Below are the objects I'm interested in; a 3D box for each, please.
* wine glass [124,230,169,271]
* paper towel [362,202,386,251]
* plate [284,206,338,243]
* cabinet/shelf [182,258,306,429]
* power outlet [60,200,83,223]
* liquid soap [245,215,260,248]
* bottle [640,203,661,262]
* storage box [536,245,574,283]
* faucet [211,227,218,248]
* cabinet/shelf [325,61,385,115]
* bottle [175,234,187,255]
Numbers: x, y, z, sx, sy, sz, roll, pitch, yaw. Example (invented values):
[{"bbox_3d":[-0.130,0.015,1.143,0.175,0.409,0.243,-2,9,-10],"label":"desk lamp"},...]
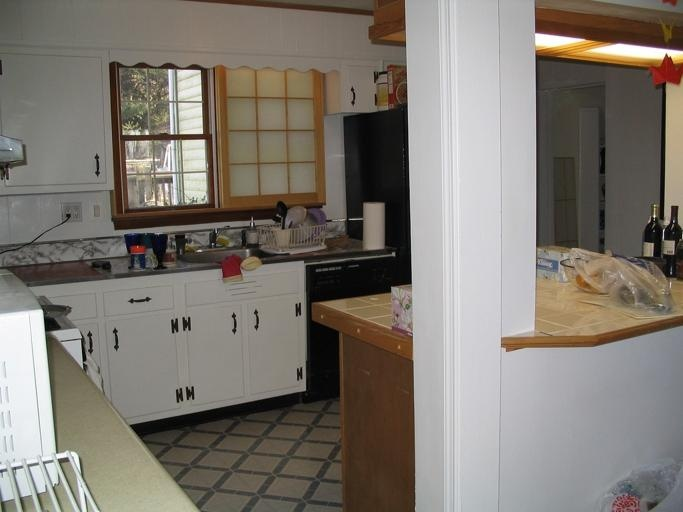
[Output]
[{"bbox_3d":[-1.402,-0.045,3.872,0.311,0.252,0.266,2,3,36],"label":"wine glass"},{"bbox_3d":[0.263,-0.232,4.378,0.159,0.367,0.111,-2,9,-4],"label":"paper towel"},{"bbox_3d":[-0.252,-0.271,4.561,0.293,0.288,0.809,2,11,19],"label":"plate"},{"bbox_3d":[-0.730,0.632,3.918,1.032,1.066,0.531,-4,6,-32],"label":"cabinet/shelf"},{"bbox_3d":[-2.035,-0.332,4.078,0.146,0.138,0.019,-11,8,-34],"label":"power outlet"},{"bbox_3d":[-0.729,-0.169,4.421,0.105,0.186,0.171,-5,11,-21],"label":"liquid soap"},{"bbox_3d":[1.715,-0.136,2.983,0.092,0.288,0.286,4,11,30],"label":"bottle"},{"bbox_3d":[1.133,0.045,2.908,0.121,0.149,0.210,-7,11,-28],"label":"storage box"},{"bbox_3d":[-1.039,-0.140,4.443,0.064,0.146,0.100,-4,10,-15],"label":"faucet"},{"bbox_3d":[0.077,-1.500,4.867,0.424,0.444,0.313,-12,18,-36],"label":"cabinet/shelf"},{"bbox_3d":[-1.253,-0.080,4.244,0.078,0.160,0.071,-5,10,-21],"label":"bottle"}]
